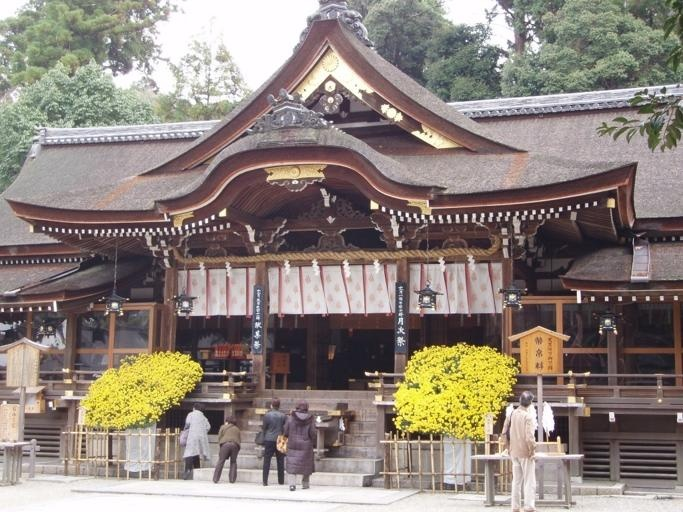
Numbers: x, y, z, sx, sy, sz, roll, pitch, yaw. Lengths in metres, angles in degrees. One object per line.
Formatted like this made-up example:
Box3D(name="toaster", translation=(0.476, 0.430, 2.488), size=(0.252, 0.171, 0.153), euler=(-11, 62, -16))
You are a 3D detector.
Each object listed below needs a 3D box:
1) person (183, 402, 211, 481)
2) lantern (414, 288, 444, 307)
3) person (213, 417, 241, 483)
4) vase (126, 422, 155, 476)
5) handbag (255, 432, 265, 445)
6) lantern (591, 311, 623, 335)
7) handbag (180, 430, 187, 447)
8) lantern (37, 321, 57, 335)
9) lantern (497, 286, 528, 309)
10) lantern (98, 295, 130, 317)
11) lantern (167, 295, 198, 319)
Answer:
Box3D(name="person", translation=(-3.590, 4.610, 29.465), size=(0.648, 1.810, 1.023), euler=(1, -14, -7))
Box3D(name="lantern", translation=(2.239, 1.069, 30.334), size=(0.616, 0.504, 0.556), euler=(0, -10, 7))
Box3D(name="person", translation=(-2.806, 4.799, 28.935), size=(0.609, 1.416, 0.508), euler=(1, -14, -7))
Box3D(name="vase", translation=(-5.105, 4.971, 30.187), size=(0.733, 1.178, 0.418), euler=(1, -14, -7))
Box3D(name="handbag", translation=(-1.956, 4.338, 28.330), size=(0.187, 0.291, 0.286), euler=(0, -13, -5))
Box3D(name="lantern", translation=(6.567, 1.710, 29.522), size=(0.739, 0.685, 0.658), euler=(2, -17, 0))
Box3D(name="handbag", translation=(-3.899, 4.483, 29.282), size=(0.188, 0.388, 0.404), euler=(1, -13, -9))
Box3D(name="lantern", translation=(-8.417, 2.070, 33.898), size=(0.586, 0.386, 0.616), euler=(-2, -1, 7))
Box3D(name="lantern", translation=(4.291, 1.057, 29.811), size=(0.854, 0.591, 0.561), euler=(0, -5, 6))
Box3D(name="lantern", translation=(-6.075, 1.294, 31.767), size=(0.764, 0.602, 0.686), euler=(1, -9, -6))
Box3D(name="lantern", translation=(-4.268, 1.379, 32.059), size=(0.758, 0.673, 0.612), euler=(1, -6, -5))
